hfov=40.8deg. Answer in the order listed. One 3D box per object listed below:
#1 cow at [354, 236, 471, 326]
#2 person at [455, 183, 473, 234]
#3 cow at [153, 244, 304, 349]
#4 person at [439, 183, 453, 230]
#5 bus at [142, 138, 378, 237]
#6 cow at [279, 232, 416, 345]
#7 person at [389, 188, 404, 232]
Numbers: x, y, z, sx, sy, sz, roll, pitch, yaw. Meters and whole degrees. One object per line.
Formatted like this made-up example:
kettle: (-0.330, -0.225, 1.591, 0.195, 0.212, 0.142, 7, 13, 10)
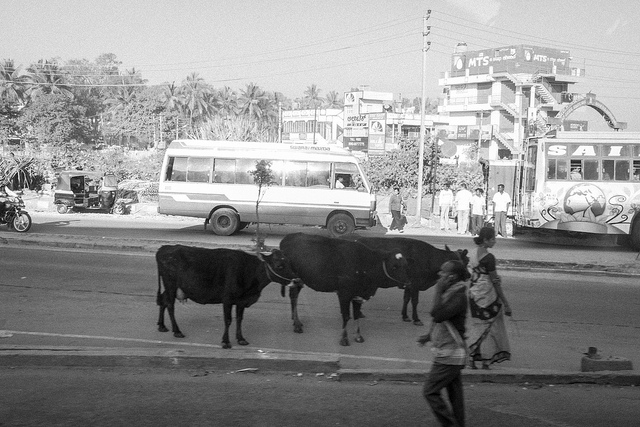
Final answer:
cow: (2.200, 1.737, 22.360, 3.842, 1.973, 0.877, 5, -5, -19)
person: (6.149, -0.189, 36.878, 0.647, 2.178, 0.905, 3, 2, 10)
cow: (-2.242, 1.953, 20.803, 3.841, 2.334, 1.026, 3, -2, 19)
person: (5.640, -0.291, 38.613, 0.525, 2.115, 1.497, 3, 2, 8)
bus: (-1.602, -0.875, 35.292, 10.319, 3.687, 3.147, 4, -1, 27)
cow: (0.581, 1.829, 21.127, 2.929, 2.530, 0.931, 2, 2, -4)
person: (3.258, -0.131, 36.939, 0.621, 1.879, 1.576, 3, 2, 4)
